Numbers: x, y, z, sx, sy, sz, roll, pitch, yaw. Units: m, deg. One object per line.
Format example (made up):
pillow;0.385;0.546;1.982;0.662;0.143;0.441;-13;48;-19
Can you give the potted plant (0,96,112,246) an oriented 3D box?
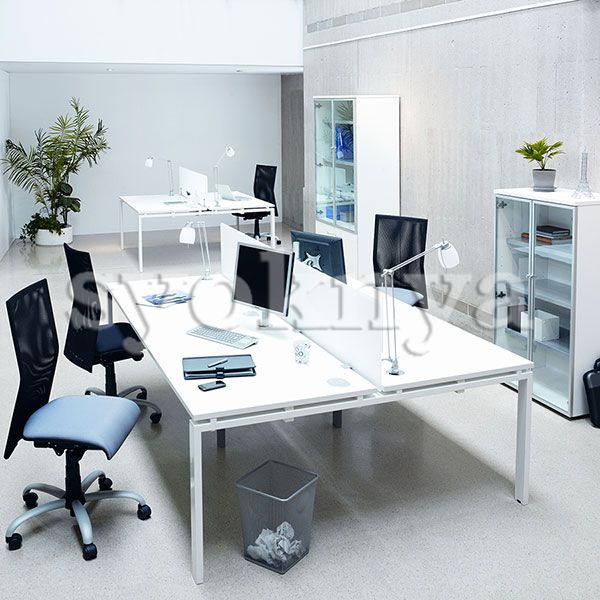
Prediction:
potted plant;-4.288;-2.160;10.106;2.155;2.848;2.109;0;16;-16

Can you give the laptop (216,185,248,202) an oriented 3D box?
laptop;-1.063;-1.495;8.736;0.368;0.249;0.395;-4;15;-30

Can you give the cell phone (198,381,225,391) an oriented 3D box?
cell phone;-0.372;0.376;2.330;0.123;0.012;0.101;-6;11;-29

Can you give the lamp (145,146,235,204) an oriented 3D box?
lamp;-2.073;-2.032;9.919;1.234;0.387;1.252;10;-10;-32

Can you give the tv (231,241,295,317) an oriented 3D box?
tv;-0.217;-0.074;3.124;0.398;0.336;0.040;12;7;34

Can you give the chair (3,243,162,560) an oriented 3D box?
chair;-1.057;0.502;2.573;0.711;1.057;0.721;1;9;8

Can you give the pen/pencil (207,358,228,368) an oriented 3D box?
pen/pencil;-0.382;0.298;2.546;0.026;0.022;0.124;5;12;22

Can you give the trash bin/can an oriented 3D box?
trash bin/can;-0.098;0.875;2.316;0.319;0.344;0.365;4;10;25

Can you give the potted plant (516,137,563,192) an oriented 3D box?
potted plant;1.682;-0.844;3.884;0.303;0.312;0.260;-3;0;3
